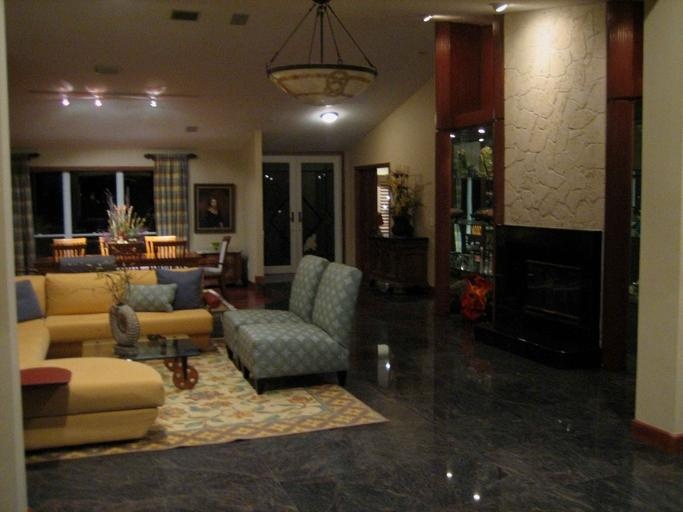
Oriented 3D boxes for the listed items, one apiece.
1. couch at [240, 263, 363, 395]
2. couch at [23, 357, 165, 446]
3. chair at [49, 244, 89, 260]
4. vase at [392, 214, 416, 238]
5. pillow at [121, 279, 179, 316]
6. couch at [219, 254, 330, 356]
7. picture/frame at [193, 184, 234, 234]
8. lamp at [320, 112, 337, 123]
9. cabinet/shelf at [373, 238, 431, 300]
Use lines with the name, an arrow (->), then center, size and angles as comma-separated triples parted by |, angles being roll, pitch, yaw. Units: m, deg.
couch -> -0.504, 0.640, 5.123 | 1.168, 1.160, 1.134 | 1, 4, -17
couch -> -1.730, 1.046, 3.647 | 0.640, 0.259, 0.662 | 0, 7, -21
chair -> -4.662, -0.079, 8.907 | 0.703, 0.287, 0.484 | -3, 3, -27
vase -> 1.112, -0.541, 9.317 | 0.402, 0.366, 0.404 | 2, 3, 42
pillow -> -2.055, 0.458, 5.720 | 0.748, 0.253, 0.469 | 0, 48, -7
couch -> -0.736, 0.534, 5.487 | 1.216, 1.138, 0.920 | 5, -2, -26
picture/frame -> -2.766, -0.994, 11.137 | 1.148, 1.305, 0.106 | 0, 7, -19
lamp -> -0.215, -2.696, 10.089 | 0.363, 0.157, 0.519 | -1, 6, -2
cabinet/shelf -> 1.032, 0.113, 9.738 | 0.885, 1.086, 1.578 | -1, 5, -21
